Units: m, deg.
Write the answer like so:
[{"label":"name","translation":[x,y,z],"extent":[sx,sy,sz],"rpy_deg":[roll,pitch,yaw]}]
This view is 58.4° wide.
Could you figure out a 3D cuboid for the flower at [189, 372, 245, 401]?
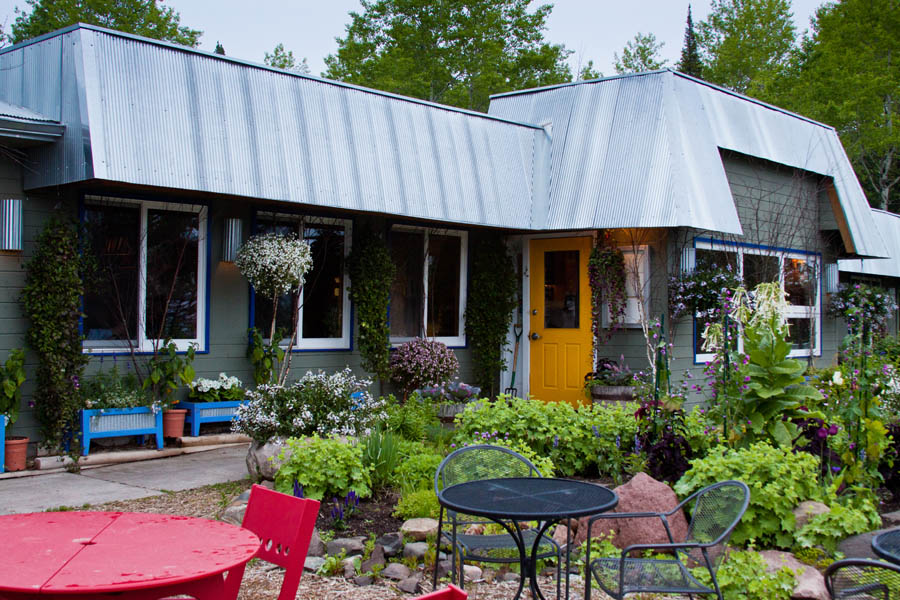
[{"label":"flower","translation":[-3.079,1.204,10.792],"extent":[0.495,0.219,0.498],"rpy_deg":[4,3,33]}]

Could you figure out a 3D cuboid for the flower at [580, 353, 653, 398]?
[{"label":"flower","translation":[2.613,1.349,12.280],"extent":[0.815,0.659,0.836],"rpy_deg":[2,11,35]}]

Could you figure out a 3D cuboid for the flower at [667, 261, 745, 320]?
[{"label":"flower","translation":[3.800,-0.130,12.456],"extent":[0.972,0.725,0.951],"rpy_deg":[0,0,-14]}]

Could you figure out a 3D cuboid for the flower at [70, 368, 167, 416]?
[{"label":"flower","translation":[-4.270,1.245,10.264],"extent":[0.823,0.318,0.835],"rpy_deg":[2,11,20]}]
